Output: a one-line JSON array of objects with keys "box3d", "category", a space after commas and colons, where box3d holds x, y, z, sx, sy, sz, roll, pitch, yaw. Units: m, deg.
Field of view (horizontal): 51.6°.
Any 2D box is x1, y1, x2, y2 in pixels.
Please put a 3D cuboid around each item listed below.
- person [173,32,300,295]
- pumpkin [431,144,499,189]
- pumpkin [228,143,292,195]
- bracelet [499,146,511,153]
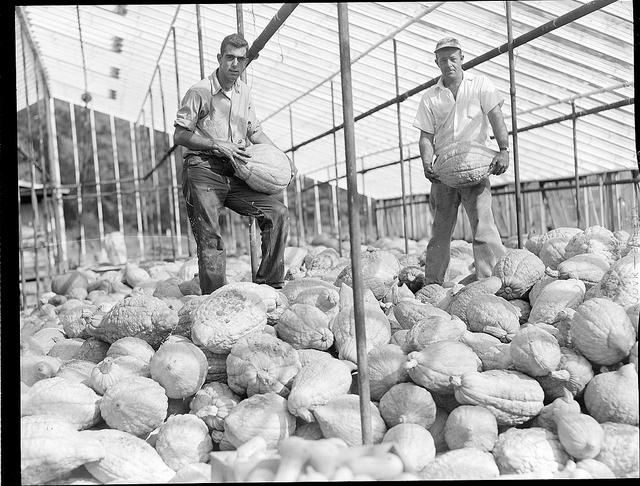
[{"box3d": [-0.714, -0.526, 5.324, 0.762, 2.400, 0.699, -4, 23, -11], "category": "person"}, {"box3d": [1.176, -0.641, 5.400, 0.509, 0.360, 0.294, 2, 2, 14], "category": "pumpkin"}, {"box3d": [-0.469, -0.507, 5.215, 0.395, 0.330, 0.334, 18, 39, -14], "category": "pumpkin"}, {"box3d": [1.523, -0.773, 5.445, 0.091, 0.045, 0.105, -1, 3, 0], "category": "bracelet"}]
